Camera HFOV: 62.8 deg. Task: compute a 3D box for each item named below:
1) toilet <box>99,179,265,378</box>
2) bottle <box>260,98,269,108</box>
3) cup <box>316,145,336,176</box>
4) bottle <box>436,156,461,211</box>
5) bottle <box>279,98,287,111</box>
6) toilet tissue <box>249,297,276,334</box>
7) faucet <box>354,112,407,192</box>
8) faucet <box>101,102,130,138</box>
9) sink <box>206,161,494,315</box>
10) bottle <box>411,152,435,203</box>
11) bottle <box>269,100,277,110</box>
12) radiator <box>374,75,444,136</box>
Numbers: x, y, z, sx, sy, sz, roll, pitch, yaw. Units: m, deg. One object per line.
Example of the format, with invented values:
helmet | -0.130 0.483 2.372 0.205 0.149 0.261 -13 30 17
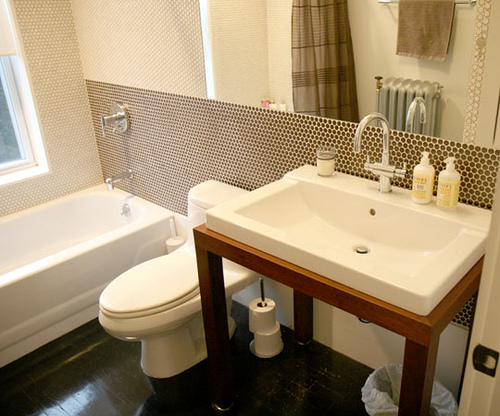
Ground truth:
toilet | -0.371 0.388 2.109 0.818 0.780 0.480 -20 28 -31
bottle | 0.069 -0.495 1.939 0.032 0.037 0.033 1 14 24
cup | 0.322 -0.196 1.735 0.080 0.112 0.084 -3 26 2
bottle | 0.703 -0.095 1.444 0.073 0.175 0.140 10 22 26
bottle | 0.150 -0.477 1.885 0.013 0.055 0.040 -17 26 -39
toilet tissue | 0.063 0.569 2.137 0.133 0.156 0.141 -21 24 -40
faucet | 0.455 -0.195 1.509 0.191 0.316 0.185 -15 22 -26
faucet | -0.892 -0.595 2.726 0.164 0.207 0.132 28 38 26
sink | 0.348 0.061 1.486 0.874 0.218 0.575 16 27 36
bottle | 0.624 -0.110 1.462 0.081 0.175 0.068 4 20 13
bottle | 0.106 -0.483 1.922 0.030 0.035 0.033 -25 33 -39
radiator | 0.593 -0.384 1.514 0.186 0.203 0.033 24 40 35
